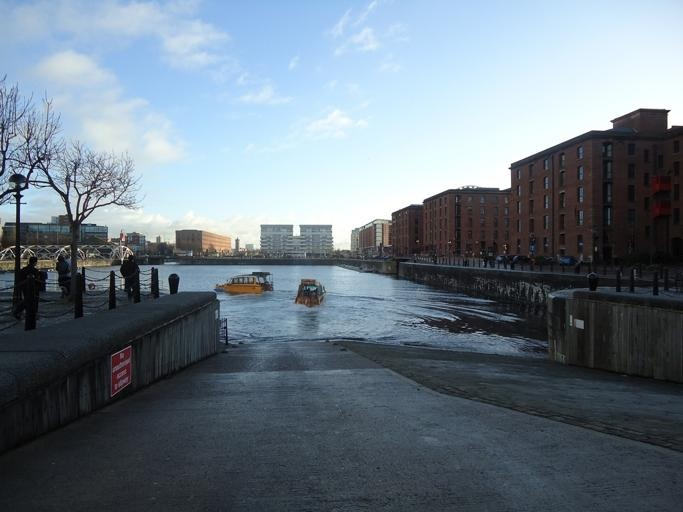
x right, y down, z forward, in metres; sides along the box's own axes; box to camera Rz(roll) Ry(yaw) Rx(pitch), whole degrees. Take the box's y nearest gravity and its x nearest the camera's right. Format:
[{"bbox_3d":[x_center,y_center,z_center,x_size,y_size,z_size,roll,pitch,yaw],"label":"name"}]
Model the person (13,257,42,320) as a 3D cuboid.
[{"bbox_3d":[-8.859,0.809,16.360,0.649,1.880,0.630,-1,31,-37],"label":"person"}]
